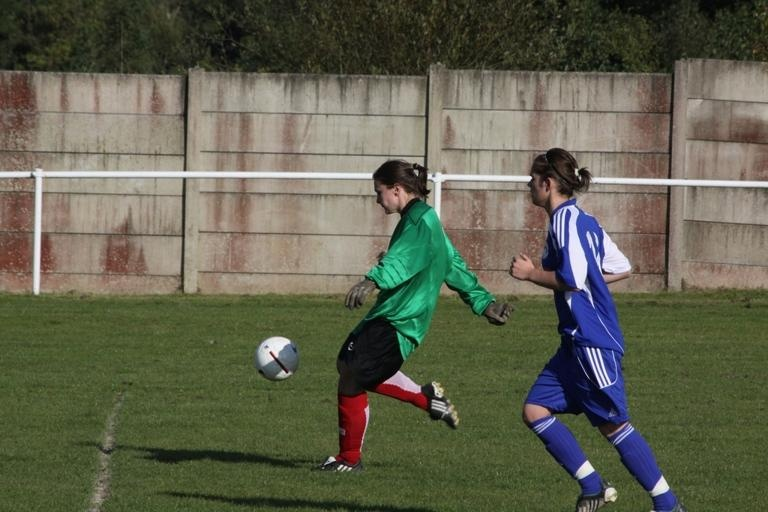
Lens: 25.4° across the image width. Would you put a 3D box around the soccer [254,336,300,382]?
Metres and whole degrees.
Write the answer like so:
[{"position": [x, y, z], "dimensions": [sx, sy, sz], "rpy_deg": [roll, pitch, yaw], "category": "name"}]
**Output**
[{"position": [-1.797, 1.737, 28.526], "dimensions": [0.646, 0.714, 0.679], "rpy_deg": [-22, 10, 2], "category": "soccer"}]
